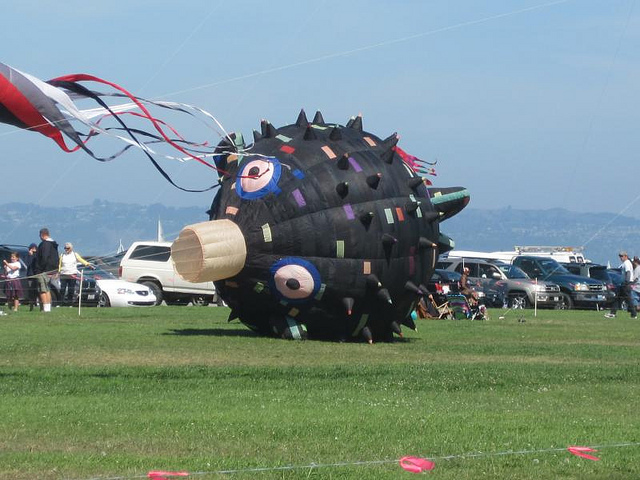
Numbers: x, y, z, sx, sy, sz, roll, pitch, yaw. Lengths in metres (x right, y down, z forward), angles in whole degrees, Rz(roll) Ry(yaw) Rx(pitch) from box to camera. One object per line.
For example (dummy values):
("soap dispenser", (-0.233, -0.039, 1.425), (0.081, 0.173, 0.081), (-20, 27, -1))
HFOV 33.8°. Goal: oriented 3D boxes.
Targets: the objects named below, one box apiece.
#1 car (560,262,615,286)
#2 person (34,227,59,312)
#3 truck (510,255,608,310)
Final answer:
("car", (10.472, 1.415, 41.315), (1.018, 0.836, 1.691), (0, 7, -42))
("person", (-6.655, 0.728, 25.555), (0.550, 2.022, 1.028), (0, 4, -14))
("truck", (8.635, 1.598, 38.314), (1.980, 1.668, 4.124), (-5, 1, -28))
